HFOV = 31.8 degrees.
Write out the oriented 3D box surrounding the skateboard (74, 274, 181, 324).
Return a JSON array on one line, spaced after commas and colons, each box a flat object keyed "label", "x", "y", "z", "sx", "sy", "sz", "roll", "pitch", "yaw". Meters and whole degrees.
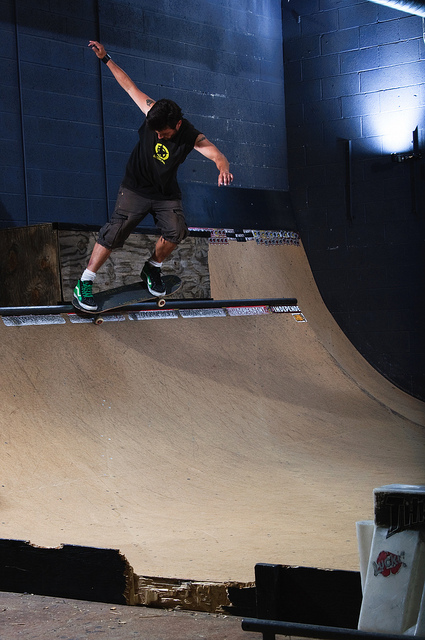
[{"label": "skateboard", "x": -0.580, "y": -0.149, "z": 5.036, "sx": 1.022, "sy": 0.234, "sz": 0.164, "roll": -15, "pitch": -37, "yaw": -36}]
